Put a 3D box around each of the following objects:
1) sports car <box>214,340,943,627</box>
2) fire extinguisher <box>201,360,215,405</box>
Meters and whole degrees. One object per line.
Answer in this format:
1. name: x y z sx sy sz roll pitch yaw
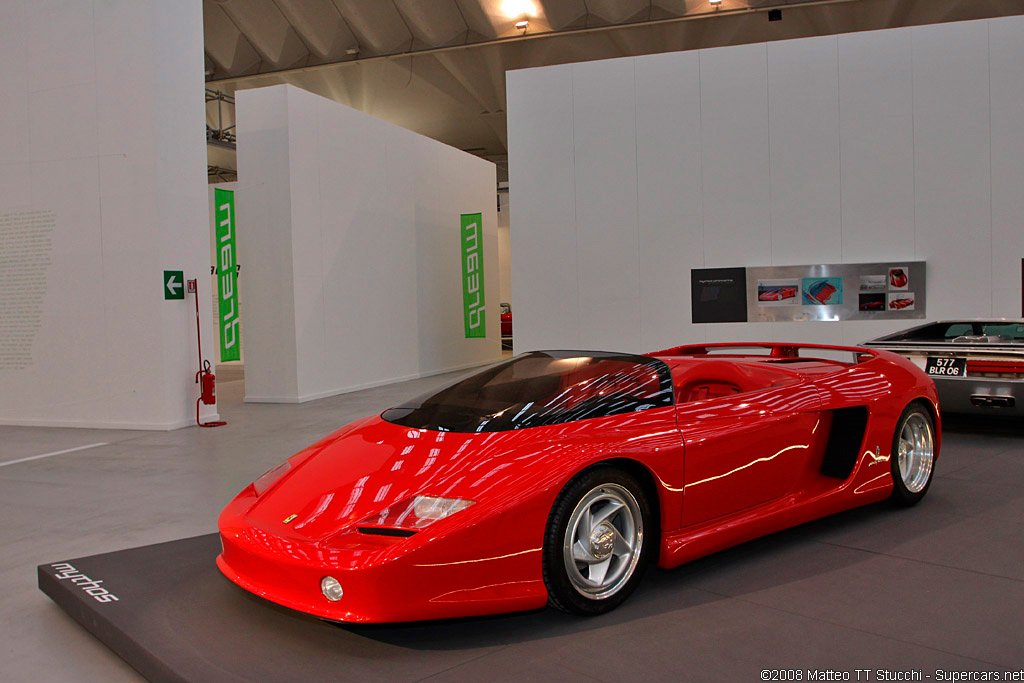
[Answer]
1. sports car: 0.596 0.728 3.894 3.362 1.027 1.810 -6 3 -36
2. fire extinguisher: -3.687 0.495 8.369 0.145 0.517 0.175 -6 8 -30
